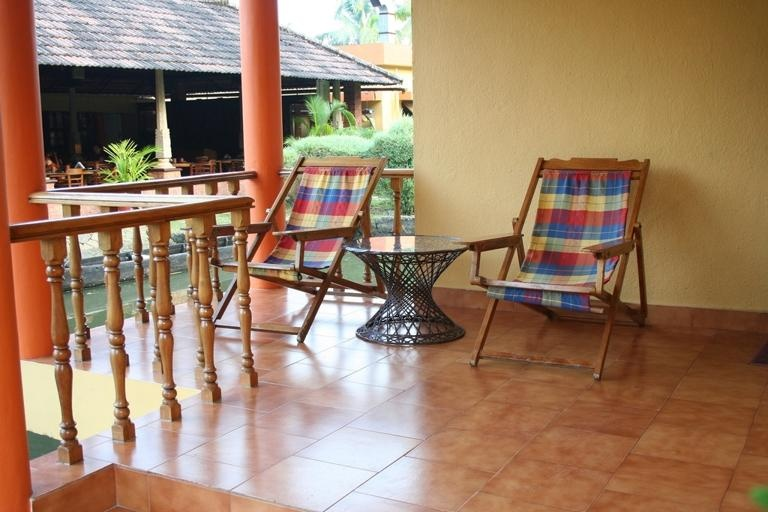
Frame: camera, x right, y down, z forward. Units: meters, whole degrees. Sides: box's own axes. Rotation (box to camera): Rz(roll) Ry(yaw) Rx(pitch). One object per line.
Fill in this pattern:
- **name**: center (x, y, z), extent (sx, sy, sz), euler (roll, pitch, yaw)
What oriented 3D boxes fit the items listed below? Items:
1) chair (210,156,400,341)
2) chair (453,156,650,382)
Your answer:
- **chair**: center (-0.720, -0.148, 5.266), extent (1.046, 1.214, 1.470), euler (5, 15, 31)
- **chair**: center (1.481, -0.099, 4.794), extent (1.293, 1.602, 1.815), euler (6, 18, 27)
